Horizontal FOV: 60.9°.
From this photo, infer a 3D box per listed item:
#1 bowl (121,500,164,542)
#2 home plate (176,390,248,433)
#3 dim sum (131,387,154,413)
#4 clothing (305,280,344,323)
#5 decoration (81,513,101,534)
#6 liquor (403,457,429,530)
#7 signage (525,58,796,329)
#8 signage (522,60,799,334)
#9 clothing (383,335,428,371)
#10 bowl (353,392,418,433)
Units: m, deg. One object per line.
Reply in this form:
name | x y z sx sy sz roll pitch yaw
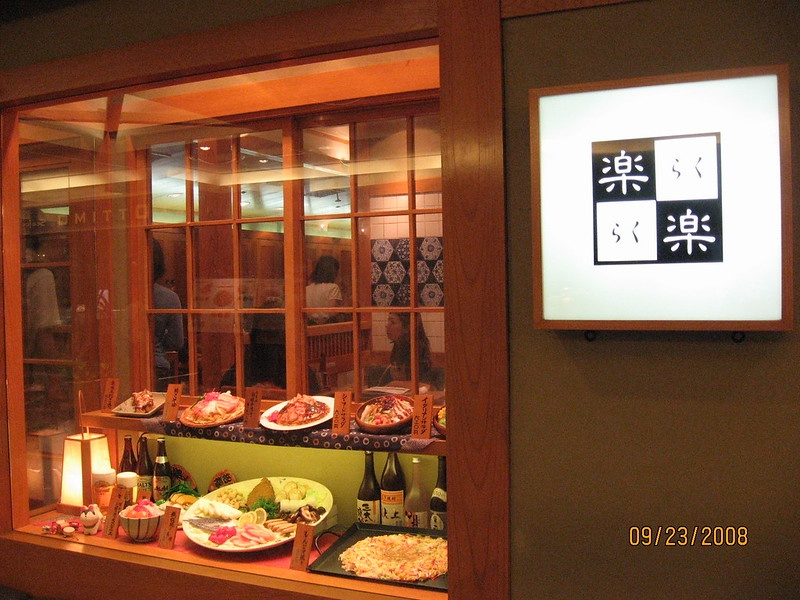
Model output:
bowl | -0.961 0.817 2.522 0.133 0.112 0.140 1 -7 0
home plate | -0.730 0.429 2.642 0.244 0.098 0.153 -3 1 -19
dim sum | -1.058 0.412 2.773 0.064 0.042 0.099 -2 13 -19
clothing | -0.285 0.006 2.627 0.155 0.146 0.084 3 5 25
decoration | -1.189 0.857 2.602 0.083 0.071 0.060 -2 1 -4
liquor | 0.064 0.749 2.556 0.104 0.316 0.103 5 11 22
signage | 0.738 -0.280 1.839 0.744 0.717 0.056 -1 1 12
signage | 0.740 -0.274 1.839 0.751 0.722 0.057 -1 1 12
clothing | 0.032 0.180 2.431 0.117 0.128 0.134 2 -1 1
bowl | -0.059 0.407 2.415 0.215 0.081 0.100 -1 1 32
